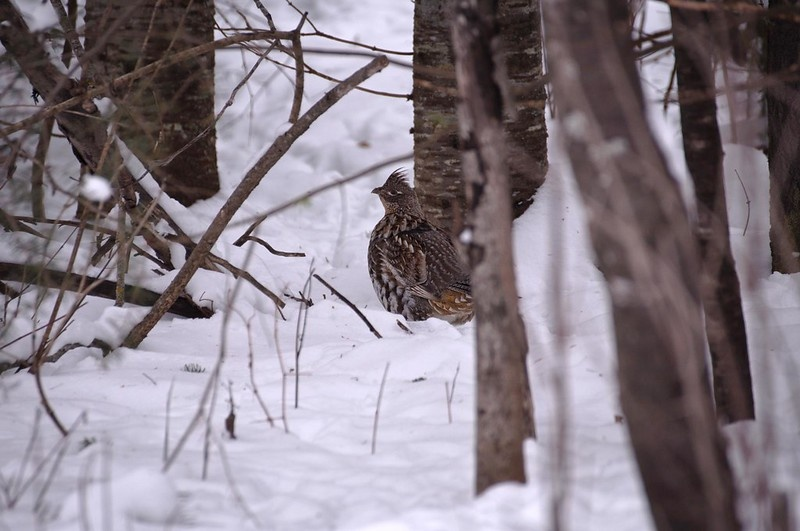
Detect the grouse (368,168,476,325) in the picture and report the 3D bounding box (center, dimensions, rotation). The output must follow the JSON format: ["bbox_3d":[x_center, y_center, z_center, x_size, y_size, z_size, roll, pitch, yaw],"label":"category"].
[{"bbox_3d":[0.198,0.064,9.326,0.435,0.878,1.161,-13,20,-41],"label":"grouse"}]
